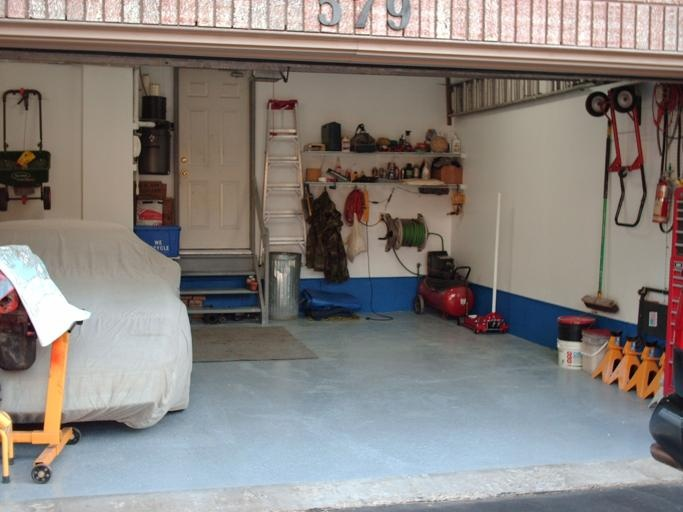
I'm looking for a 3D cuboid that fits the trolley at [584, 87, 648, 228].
[{"bbox_3d":[2.584,-0.950,6.247,0.433,1.330,0.641,-1,8,-14],"label":"trolley"}]

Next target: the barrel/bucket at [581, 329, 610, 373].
[{"bbox_3d":[2.433,0.894,6.183,0.213,0.404,0.265,-1,8,-9],"label":"barrel/bucket"}]

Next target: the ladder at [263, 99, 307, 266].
[{"bbox_3d":[-0.792,-1.051,8.843,0.590,2.060,0.355,0,8,-6],"label":"ladder"}]

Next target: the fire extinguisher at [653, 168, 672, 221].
[{"bbox_3d":[2.869,-0.526,5.780,0.132,0.473,0.183,7,10,42],"label":"fire extinguisher"}]

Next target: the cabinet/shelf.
[{"bbox_3d":[0.603,-1.205,9.044,2.229,0.480,0.454,0,8,-6],"label":"cabinet/shelf"}]

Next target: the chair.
[{"bbox_3d":[-1.869,0.495,5.428,1.206,0.770,2.183,2,11,-14],"label":"chair"}]

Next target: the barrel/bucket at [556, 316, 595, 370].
[{"bbox_3d":[2.243,0.840,6.483,0.448,0.583,0.424,0,-4,0],"label":"barrel/bucket"}]

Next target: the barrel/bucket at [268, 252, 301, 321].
[{"bbox_3d":[-0.756,0.378,8.536,0.400,0.874,0.181,-1,8,-8],"label":"barrel/bucket"}]

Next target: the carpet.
[{"bbox_3d":[-1.042,0.931,7.285,1.242,0.085,1.760,-1,8,-14],"label":"carpet"}]
